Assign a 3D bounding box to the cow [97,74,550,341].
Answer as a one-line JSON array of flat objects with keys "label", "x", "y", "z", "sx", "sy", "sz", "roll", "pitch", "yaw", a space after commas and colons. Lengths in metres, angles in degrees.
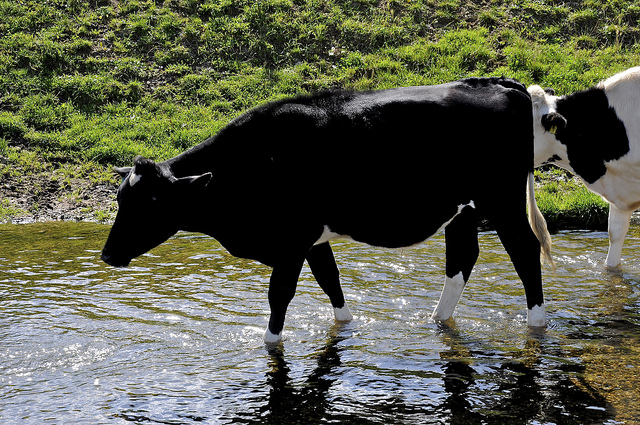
[{"label": "cow", "x": 1.829, "y": -0.509, "z": 15.151, "sx": 9.881, "sy": 4.035, "sz": 2.462, "roll": -2, "pitch": -2, "yaw": -4}]
